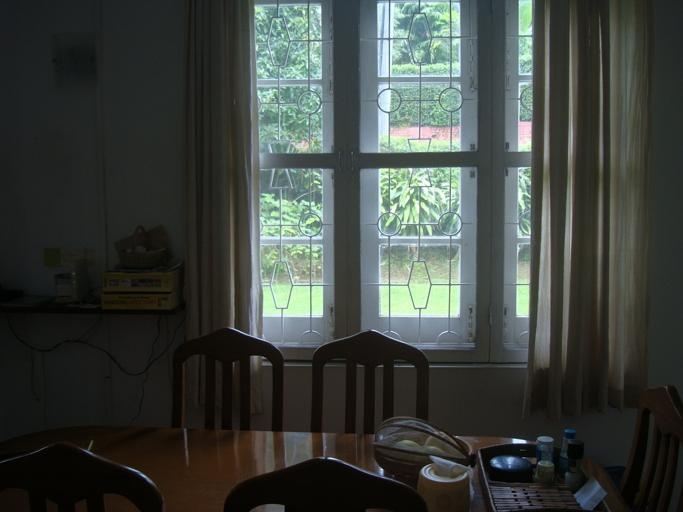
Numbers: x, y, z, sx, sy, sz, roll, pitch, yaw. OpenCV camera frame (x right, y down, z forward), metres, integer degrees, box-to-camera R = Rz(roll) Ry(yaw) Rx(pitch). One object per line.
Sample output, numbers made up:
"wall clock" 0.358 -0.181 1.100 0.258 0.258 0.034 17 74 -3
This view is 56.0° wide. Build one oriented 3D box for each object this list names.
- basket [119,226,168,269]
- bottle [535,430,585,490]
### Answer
"basket" -1.197 -0.048 3.858 0.293 0.241 0.209 0 4 -4
"bottle" 0.973 0.839 2.675 0.165 0.219 0.096 -2 2 -30
